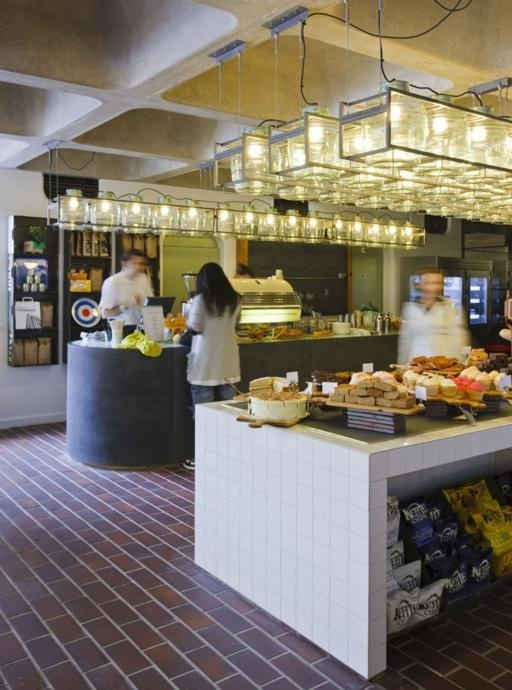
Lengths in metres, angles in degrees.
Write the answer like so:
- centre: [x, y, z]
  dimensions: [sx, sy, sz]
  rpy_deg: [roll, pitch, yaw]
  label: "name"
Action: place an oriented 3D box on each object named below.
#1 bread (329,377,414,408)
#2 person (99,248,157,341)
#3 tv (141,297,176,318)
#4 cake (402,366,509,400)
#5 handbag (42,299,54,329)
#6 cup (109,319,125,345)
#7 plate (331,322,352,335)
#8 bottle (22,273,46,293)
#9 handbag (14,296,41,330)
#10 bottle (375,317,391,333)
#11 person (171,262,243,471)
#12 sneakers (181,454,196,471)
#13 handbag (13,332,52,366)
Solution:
- centre: [0.483, 0.183, 2.421]
  dimensions: [0.250, 0.085, 0.141]
  rpy_deg: [2, -1, 41]
  label: "bread"
- centre: [-1.357, -0.529, 6.242]
  dimensions: [0.488, 0.971, 2.516]
  rpy_deg: [-1, 3, -10]
  label: "person"
- centre: [-0.959, -0.380, 5.907]
  dimensions: [0.304, 0.199, 0.190]
  rpy_deg: [4, -7, -34]
  label: "tv"
- centre: [0.938, 0.195, 2.895]
  dimensions: [0.629, 0.140, 0.440]
  rpy_deg: [-3, 3, -43]
  label: "cake"
- centre: [-2.389, -0.341, 6.751]
  dimensions: [0.037, 0.288, 0.157]
  rpy_deg: [1, 3, 34]
  label: "handbag"
- centre: [-1.210, -0.101, 5.092]
  dimensions: [0.115, 0.224, 0.306]
  rpy_deg: [-1, 3, -14]
  label: "cup"
- centre: [1.068, -0.192, 7.306]
  dimensions: [0.187, 0.110, 0.175]
  rpy_deg: [2, 0, -27]
  label: "plate"
- centre: [-2.483, -0.697, 6.593]
  dimensions: [0.204, 0.174, 0.200]
  rpy_deg: [1, 1, -7]
  label: "bottle"
- centre: [-2.566, -0.357, 6.583]
  dimensions: [0.384, 0.450, 0.156]
  rpy_deg: [-4, 10, -41]
  label: "handbag"
- centre: [1.636, -0.258, 7.661]
  dimensions: [0.209, 0.338, 0.227]
  rpy_deg: [-1, 3, 0]
  label: "bottle"
- centre: [-0.335, -0.069, 4.590]
  dimensions: [0.423, 1.088, 0.483]
  rpy_deg: [-1, 2, -5]
  label: "person"
- centre: [-0.563, 1.006, 4.974]
  dimensions: [0.095, 0.117, 0.271]
  rpy_deg: [2, 4, -6]
  label: "sneakers"
- centre: [-2.566, 0.049, 6.705]
  dimensions: [0.408, 0.313, 0.144]
  rpy_deg: [-2, 6, -41]
  label: "handbag"
